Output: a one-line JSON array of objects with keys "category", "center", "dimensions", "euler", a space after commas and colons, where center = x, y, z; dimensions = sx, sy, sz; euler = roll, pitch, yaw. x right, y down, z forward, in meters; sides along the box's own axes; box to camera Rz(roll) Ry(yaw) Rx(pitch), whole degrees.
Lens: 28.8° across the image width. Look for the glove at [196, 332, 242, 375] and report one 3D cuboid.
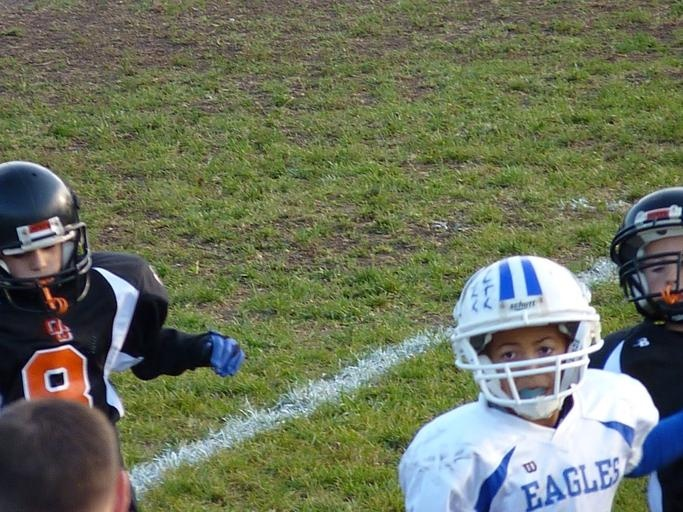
[{"category": "glove", "center": [-0.886, 0.676, 9.654], "dimensions": [0.267, 0.140, 0.317], "euler": [21, 16, -44]}]
